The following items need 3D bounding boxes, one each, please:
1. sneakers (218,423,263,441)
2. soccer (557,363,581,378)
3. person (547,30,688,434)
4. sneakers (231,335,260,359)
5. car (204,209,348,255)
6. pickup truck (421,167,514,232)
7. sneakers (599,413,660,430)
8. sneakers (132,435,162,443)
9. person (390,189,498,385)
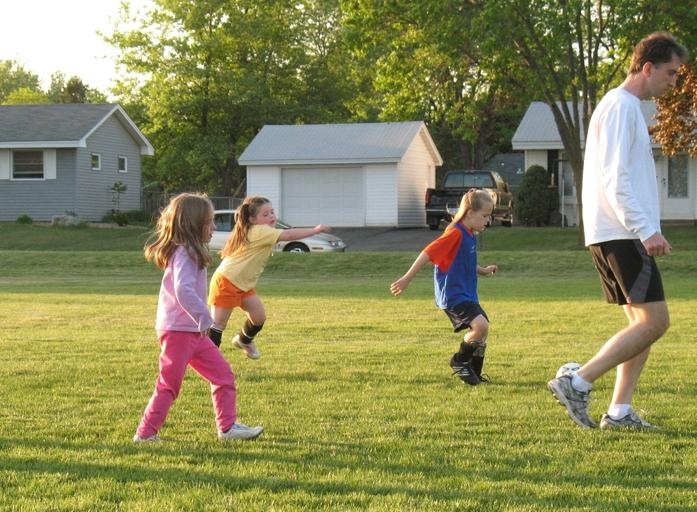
[{"bbox_3d":[-0.932,1.535,10.176,0.412,0.145,0.142,-2,2,0],"label":"sneakers"},{"bbox_3d":[2.014,1.032,10.586,0.119,0.083,0.209,-7,-9,32],"label":"soccer"},{"bbox_3d":[2.455,-0.228,10.348,1.057,3.526,0.627,0,2,14],"label":"person"},{"bbox_3d":[-1.152,1.022,12.979,0.295,0.130,0.108,36,30,7],"label":"sneakers"},{"bbox_3d":[-1.772,-0.528,28.429,3.219,0.872,1.318,-1,2,4],"label":"car"},{"bbox_3d":[3.682,-1.675,34.952,1.979,1.336,3.575,0,3,32],"label":"pickup truck"},{"bbox_3d":[2.506,1.471,10.427,0.541,0.191,0.170,2,1,0],"label":"sneakers"},{"bbox_3d":[-1.746,1.575,10.055,0.228,0.061,0.162,-1,2,-9],"label":"sneakers"},{"bbox_3d":[1.108,0.311,11.823,1.238,1.967,0.479,-2,2,-38],"label":"person"}]
